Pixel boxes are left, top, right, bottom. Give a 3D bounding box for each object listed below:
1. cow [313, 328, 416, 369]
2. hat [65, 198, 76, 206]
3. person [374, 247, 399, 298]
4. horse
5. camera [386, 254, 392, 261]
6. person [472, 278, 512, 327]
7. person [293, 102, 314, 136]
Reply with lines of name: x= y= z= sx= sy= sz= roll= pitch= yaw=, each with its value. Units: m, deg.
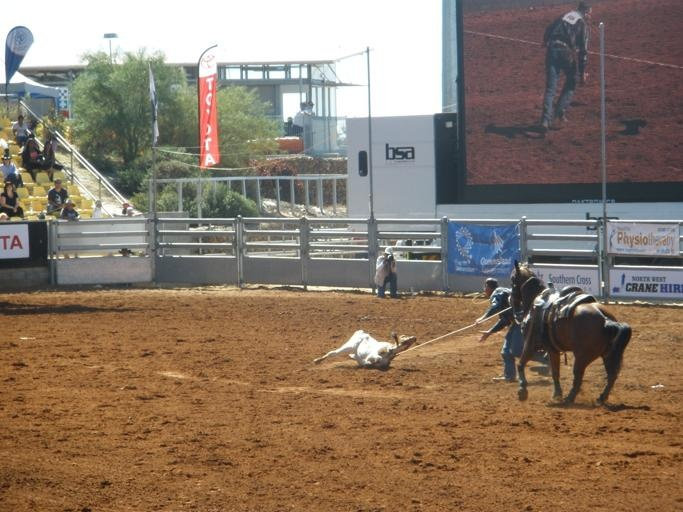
cow: x=0.639 y=2.028 z=27.883 sx=1.839 sy=0.781 sz=0.935 roll=4 pitch=5 yaw=35
hat: x=-8.227 y=-1.631 z=39.178 sx=0.407 sy=0.133 sz=0.407 roll=-5 pitch=-6 yaw=0
person: x=1.209 y=0.424 z=35.081 sx=0.585 sy=1.341 sz=0.636 roll=1 pitch=4 yaw=1
horse: x=4.528 y=1.672 z=26.369 sx=1.089 sy=2.799 sz=3.659 roll=-2 pitch=5 yaw=-33
camera: x=1.290 y=0.047 z=34.804 sx=0.119 sy=0.088 sz=0.116 roll=3 pitch=10 yaw=6
person: x=3.447 y=1.091 z=29.550 sx=0.496 sy=1.260 sz=0.930 roll=-6 pitch=12 yaw=32
person: x=-2.244 y=-8.124 z=76.140 sx=1.100 sy=2.007 sz=1.541 roll=0 pitch=4 yaw=-2
